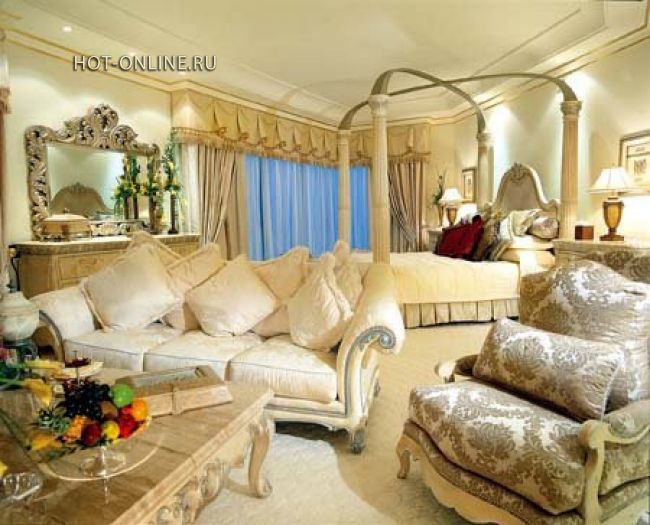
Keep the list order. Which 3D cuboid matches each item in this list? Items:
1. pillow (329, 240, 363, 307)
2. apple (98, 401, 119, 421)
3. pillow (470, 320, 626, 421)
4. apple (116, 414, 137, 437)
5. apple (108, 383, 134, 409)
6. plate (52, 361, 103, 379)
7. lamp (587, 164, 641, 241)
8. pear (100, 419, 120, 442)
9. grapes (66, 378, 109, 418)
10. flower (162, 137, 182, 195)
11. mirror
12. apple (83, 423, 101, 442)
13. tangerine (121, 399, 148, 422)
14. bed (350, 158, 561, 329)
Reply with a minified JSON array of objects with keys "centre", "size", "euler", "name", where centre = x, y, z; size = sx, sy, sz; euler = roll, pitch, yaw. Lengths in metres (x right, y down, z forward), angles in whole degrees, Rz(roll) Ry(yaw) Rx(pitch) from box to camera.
[{"centre":[0.193,0.097,3.035],"size":[0.102,0.371,0.324],"euler":[-9,-40,4],"name":"pillow"},{"centre":[-0.821,0.560,1.683],"size":[0.053,0.070,0.055],"euler":[-37,-12,-36],"name":"apple"},{"centre":[1.011,0.474,2.011],"size":[0.291,0.317,0.750],"euler":[-7,8,-30],"name":"pillow"},{"centre":[-0.749,0.613,1.698],"size":[0.064,0.071,0.067],"euler":[2,8,13],"name":"apple"},{"centre":[-0.791,0.520,1.739],"size":[0.080,0.086,0.081],"euler":[-26,-22,38],"name":"apple"},{"centre":[-1.170,0.509,2.093],"size":[0.154,0.058,0.163],"euler":[1,0,-1],"name":"plate"},{"centre":[2.740,-0.569,4.277],"size":[0.367,0.681,0.829],"euler":[8,14,35],"name":"lamp"},{"centre":[-0.789,0.621,1.634],"size":[0.063,0.064,0.060],"euler":[44,-11,-25],"name":"pear"},{"centre":[-0.915,0.522,1.697],"size":[0.140,0.120,0.052],"euler":[-9,5,39],"name":"grapes"},{"centre":[-1.981,-1.259,5.728],"size":[0.223,0.788,0.453],"euler":[-4,12,-17],"name":"flower"},{"centre":[-2.617,-1.035,4.925],"size":[0.116,1.484,1.635],"euler":[4,6,22],"name":"mirror"},{"centre":[-0.849,0.625,1.617],"size":[0.055,0.060,0.057],"euler":[28,-44,-25],"name":"apple"},{"centre":[-0.737,0.580,1.731],"size":[0.095,0.082,0.077],"euler":[18,-41,-42],"name":"tangerine"},{"centre":[1.648,0.119,5.281],"size":[2.050,1.823,2.146],"euler":[-1,2,4],"name":"bed"}]
